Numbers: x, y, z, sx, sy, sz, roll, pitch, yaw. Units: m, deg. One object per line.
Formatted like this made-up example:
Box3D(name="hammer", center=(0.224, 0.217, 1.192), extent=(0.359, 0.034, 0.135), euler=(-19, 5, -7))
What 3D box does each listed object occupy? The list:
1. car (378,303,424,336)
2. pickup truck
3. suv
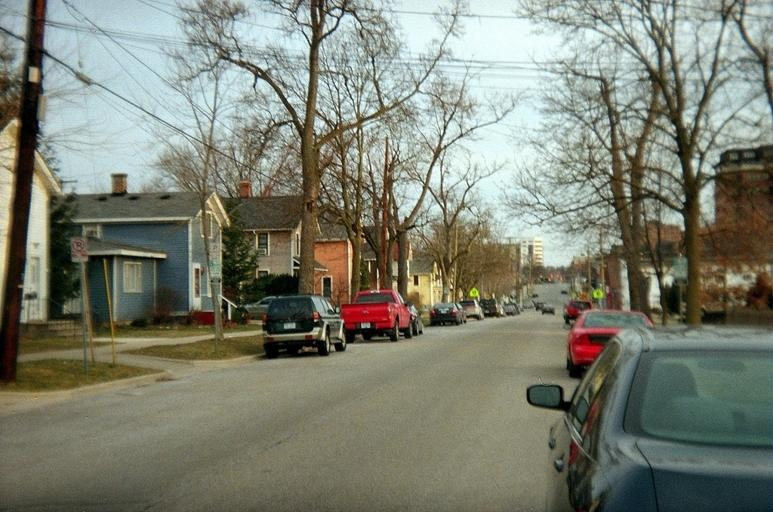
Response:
Box3D(name="car", center=(0.566, 2.768, 32.816), extent=(1.390, 1.520, 3.262), euler=(-1, 2, 9))
Box3D(name="pickup truck", center=(-0.095, 2.532, 32.476), extent=(1.571, 1.430, 3.148), euler=(0, 0, 14))
Box3D(name="suv", center=(-2.445, 2.131, 24.874), extent=(1.341, 1.391, 3.029), euler=(-2, 1, 12))
